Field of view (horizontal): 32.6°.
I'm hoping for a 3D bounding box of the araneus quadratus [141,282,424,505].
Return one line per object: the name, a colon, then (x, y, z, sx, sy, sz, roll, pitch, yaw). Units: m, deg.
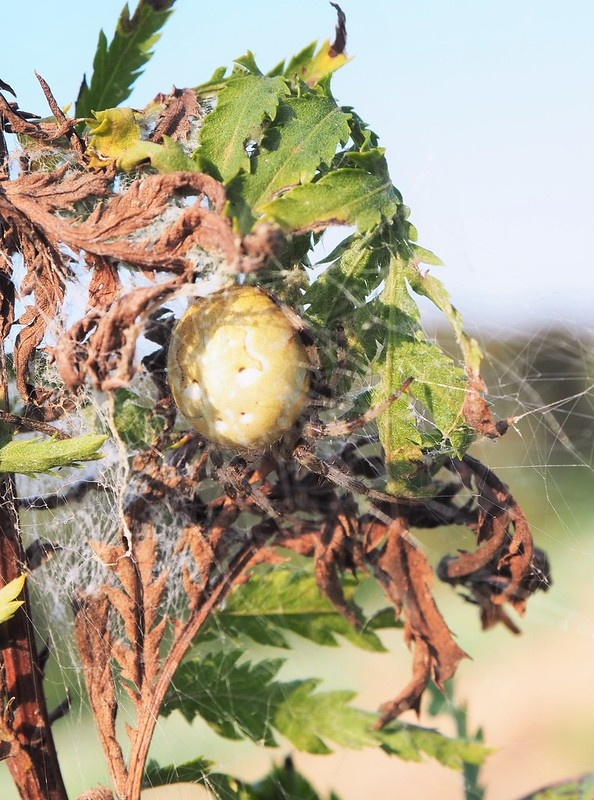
araneus quadratus: (0.006, -0.034, 1.603, 0.266, 0.374, 0.287, 15, 40, 32)
